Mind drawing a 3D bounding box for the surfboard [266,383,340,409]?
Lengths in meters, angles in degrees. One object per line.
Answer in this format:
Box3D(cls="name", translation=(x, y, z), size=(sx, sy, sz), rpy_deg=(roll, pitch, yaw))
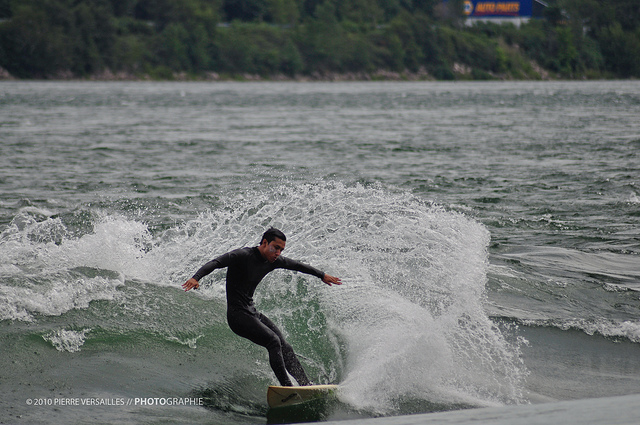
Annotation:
Box3D(cls="surfboard", translation=(-0.507, 5.369, 27.033), size=(2.034, 0.677, 0.232), rpy_deg=(1, 15, -10))
